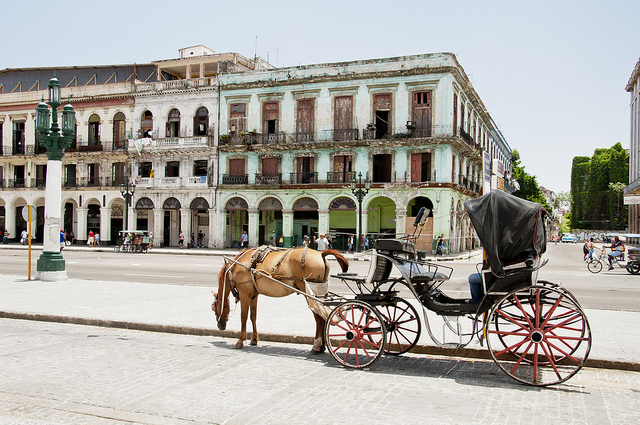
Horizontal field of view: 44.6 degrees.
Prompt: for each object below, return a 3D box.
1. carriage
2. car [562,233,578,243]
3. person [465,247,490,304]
[{"bbox_3d":[1.962,1.922,22.114,10.315,4.867,3.356,2,-7,16],"label":"carriage"},{"bbox_3d":[33.816,3.483,105.768,2.278,1.264,1.421,-3,3,-33],"label":"car"},{"bbox_3d":[4.297,1.762,20.826,0.590,1.271,0.648,-1,-1,-10],"label":"person"}]
